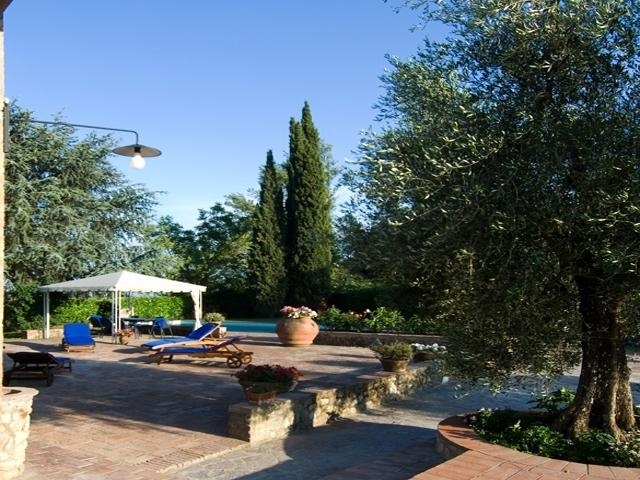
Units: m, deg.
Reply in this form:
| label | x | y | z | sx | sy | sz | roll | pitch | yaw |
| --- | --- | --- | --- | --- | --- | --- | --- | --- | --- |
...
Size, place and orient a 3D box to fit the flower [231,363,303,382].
| label | x | y | z | sx | sy | sz | roll | pitch | yaw |
| --- | --- | --- | --- | --- | --- | --- | --- | --- | --- |
| flower | -0.982 | 2.271 | 9.392 | 0.670 | 0.140 | 0.572 | -2 | -5 | 29 |

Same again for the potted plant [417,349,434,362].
| label | x | y | z | sx | sy | sz | roll | pitch | yaw |
| --- | --- | --- | --- | --- | --- | --- | --- | --- | --- |
| potted plant | 2.686 | 3.068 | 14.489 | 0.393 | 0.248 | 0.609 | 2 | -3 | -21 |

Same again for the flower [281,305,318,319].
| label | x | y | z | sx | sy | sz | roll | pitch | yaw |
| --- | --- | --- | --- | --- | --- | --- | --- | --- | --- |
| flower | -0.922 | 2.666 | 20.308 | 1.049 | 0.222 | 0.869 | 0 | -3 | 26 |

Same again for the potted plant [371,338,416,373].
| label | x | y | z | sx | sy | sz | roll | pitch | yaw |
| --- | --- | --- | --- | --- | --- | --- | --- | --- | --- |
| potted plant | 1.726 | 2.637 | 12.334 | 1.002 | 0.441 | 0.795 | 9 | -16 | -19 |
